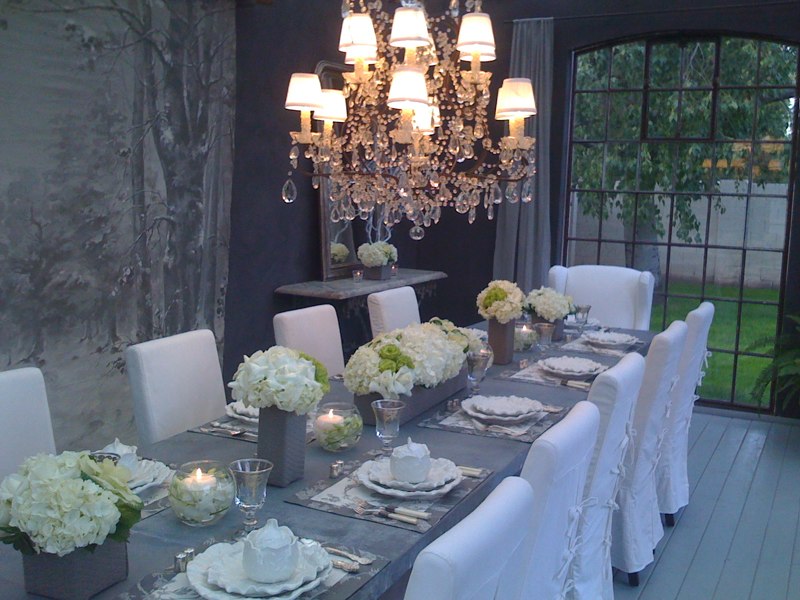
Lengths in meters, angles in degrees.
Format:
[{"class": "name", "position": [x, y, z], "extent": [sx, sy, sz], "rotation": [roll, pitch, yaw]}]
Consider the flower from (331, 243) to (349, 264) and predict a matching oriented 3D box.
[{"class": "flower", "position": [-0.482, -0.391, 4.945], "extent": [0.142, 0.114, 0.120], "rotation": [0, 7, -31]}]

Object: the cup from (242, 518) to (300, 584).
[{"class": "cup", "position": [-0.302, 0.575, 1.470], "extent": [0.114, 0.135, 0.124], "rotation": [1, 1, 0]}]

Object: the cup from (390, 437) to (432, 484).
[{"class": "cup", "position": [0.032, 0.479, 1.892], "extent": [0.110, 0.137, 0.116], "rotation": [0, 3, 0]}]

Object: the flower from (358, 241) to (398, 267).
[{"class": "flower", "position": [-0.182, -0.374, 4.991], "extent": [0.207, 0.184, 0.244], "rotation": [8, 12, 34]}]

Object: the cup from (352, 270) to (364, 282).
[{"class": "cup", "position": [-0.330, -0.207, 4.910], "extent": [0.080, 0.100, 0.083], "rotation": [1, 3, 0]}]

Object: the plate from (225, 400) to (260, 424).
[{"class": "plate", "position": [-0.624, 0.429, 2.424], "extent": [0.138, 0.055, 0.149], "rotation": [7, 7, 19]}]

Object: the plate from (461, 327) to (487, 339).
[{"class": "plate", "position": [0.375, 0.167, 3.146], "extent": [0.106, 0.041, 0.114], "rotation": [4, 7, 7]}]
